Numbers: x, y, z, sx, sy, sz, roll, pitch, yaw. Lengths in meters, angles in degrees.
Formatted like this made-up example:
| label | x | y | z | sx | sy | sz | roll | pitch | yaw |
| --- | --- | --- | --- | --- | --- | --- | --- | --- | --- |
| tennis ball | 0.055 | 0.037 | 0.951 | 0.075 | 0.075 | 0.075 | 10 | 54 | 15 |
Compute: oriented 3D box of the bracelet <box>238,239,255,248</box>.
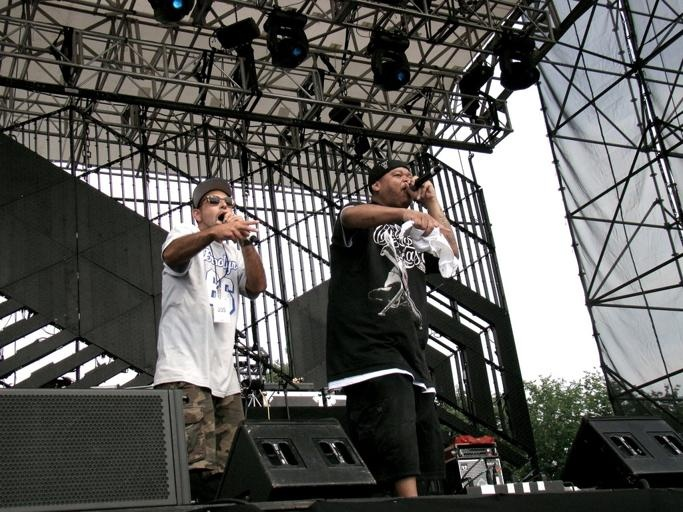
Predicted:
| label | x | y | z | sx | sy | sz | roll | pitch | yaw |
| --- | --- | --- | --- | --- | --- | --- | --- | --- | --- |
| bracelet | -0.652 | -0.097 | 6.004 | 0.077 | 0.029 | 0.058 | -8 | -1 | 32 |

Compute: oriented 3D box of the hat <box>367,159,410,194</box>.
| label | x | y | z | sx | sy | sz | roll | pitch | yaw |
| --- | --- | --- | --- | --- | --- | --- | --- | --- | --- |
| hat | 0.314 | -0.613 | 6.226 | 0.232 | 0.087 | 0.234 | -37 | -40 | 21 |

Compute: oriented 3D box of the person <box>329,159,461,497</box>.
| label | x | y | z | sx | sy | sz | roll | pitch | yaw |
| --- | --- | --- | --- | --- | --- | --- | --- | --- | --- |
| person | 0.315 | 0.589 | 5.849 | 0.850 | 1.896 | 0.774 | -3 | -23 | -2 |
